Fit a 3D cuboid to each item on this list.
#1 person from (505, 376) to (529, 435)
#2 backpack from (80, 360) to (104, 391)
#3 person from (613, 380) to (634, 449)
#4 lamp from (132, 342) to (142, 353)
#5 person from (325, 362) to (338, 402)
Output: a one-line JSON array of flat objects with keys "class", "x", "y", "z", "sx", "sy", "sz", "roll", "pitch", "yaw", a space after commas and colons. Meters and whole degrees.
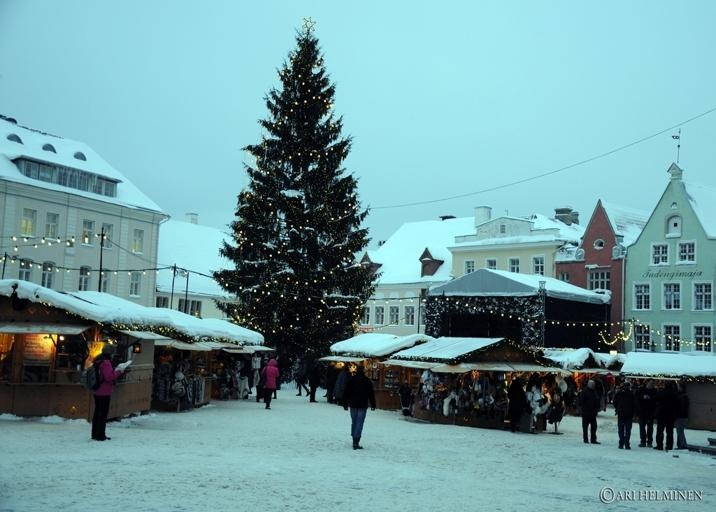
[{"class": "person", "x": 5.329, "y": 4.926, "z": 23.639, "sx": 0.624, "sy": 1.789, "sz": 0.989, "roll": 0, "pitch": -13, "yaw": 12}, {"class": "backpack", "x": -6.070, "y": 2.738, "z": 16.291, "sx": 0.503, "sy": 0.888, "sz": 0.697, "roll": 3, "pitch": -10, "yaw": -26}, {"class": "person", "x": 7.886, "y": 4.641, "z": 20.858, "sx": 0.564, "sy": 1.977, "sz": 1.518, "roll": -2, "pitch": -13, "yaw": 19}, {"class": "lamp", "x": -6.537, "y": 2.722, "z": 21.013, "sx": 0.281, "sy": 0.382, "sz": 0.277, "roll": 1, "pitch": -4, "yaw": -14}, {"class": "person", "x": -1.148, "y": 5.630, "z": 31.653, "sx": 0.538, "sy": 1.812, "sz": 1.425, "roll": 3, "pitch": -12, "yaw": -1}]
